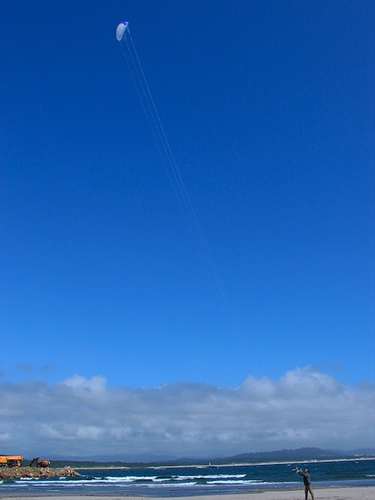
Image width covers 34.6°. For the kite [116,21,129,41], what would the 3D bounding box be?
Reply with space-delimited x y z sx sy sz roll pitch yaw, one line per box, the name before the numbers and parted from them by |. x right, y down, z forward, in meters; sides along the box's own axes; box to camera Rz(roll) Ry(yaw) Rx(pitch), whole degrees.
kite | -4.979 -16.293 45.399 0.689 2.018 1.148 3 -29 -5
